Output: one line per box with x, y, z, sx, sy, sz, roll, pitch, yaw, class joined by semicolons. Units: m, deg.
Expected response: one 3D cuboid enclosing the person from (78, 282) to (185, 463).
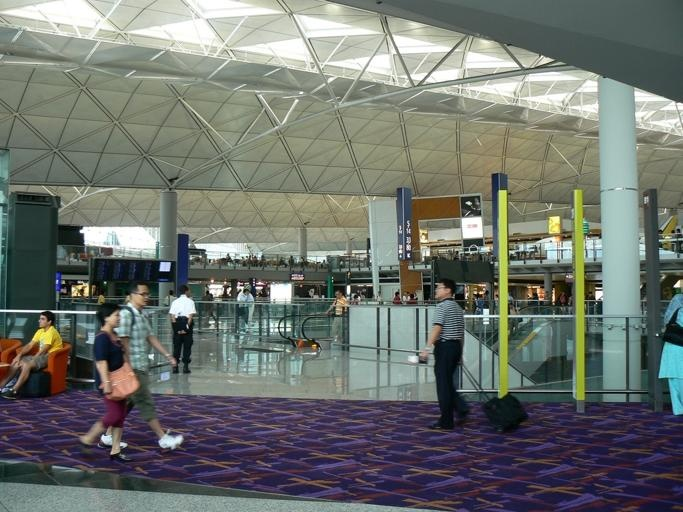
-2.811;1.647;8.494;0.961;2.488;0.933;2;-5;-13;person

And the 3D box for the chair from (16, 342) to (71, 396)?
-6.811;2.580;12.701;1.099;0.854;0.977;-6;-12;25;chair

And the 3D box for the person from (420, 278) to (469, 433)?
1.809;1.685;9.941;0.735;2.575;1.348;0;-4;12;person

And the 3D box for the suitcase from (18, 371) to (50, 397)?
-6.506;2.779;12.534;0.725;0.412;0.587;1;-1;8;suitcase

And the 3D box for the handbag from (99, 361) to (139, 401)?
-3.009;1.740;7.891;0.444;0.516;0.195;1;-4;-13;handbag

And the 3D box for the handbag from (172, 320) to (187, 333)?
-4.336;1.897;15.552;0.452;0.277;0.367;-1;0;-4;handbag

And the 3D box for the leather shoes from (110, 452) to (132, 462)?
-3.068;2.807;7.978;0.338;0.089;0.098;2;0;0;leather shoes
